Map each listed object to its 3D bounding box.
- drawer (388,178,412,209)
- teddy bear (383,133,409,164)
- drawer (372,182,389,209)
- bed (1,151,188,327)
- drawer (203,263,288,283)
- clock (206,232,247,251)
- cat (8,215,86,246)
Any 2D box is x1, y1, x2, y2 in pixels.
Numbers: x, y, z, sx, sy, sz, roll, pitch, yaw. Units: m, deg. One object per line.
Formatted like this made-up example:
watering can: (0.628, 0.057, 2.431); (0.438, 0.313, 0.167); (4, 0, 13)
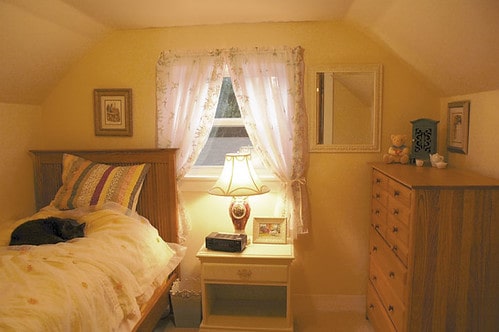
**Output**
drawer: (1.139, 0.208, 2.848); (0.136, 0.077, 0.176); (15, 11, -6)
teddy bear: (1.368, -0.156, 3.540); (0.212, 0.265, 0.173); (0, 15, 19)
drawer: (1.149, 0.260, 3.336); (0.076, 0.134, 0.175); (2, 13, -13)
bed: (-1.237, 0.536, 2.900); (1.009, 0.766, 1.315); (1, 6, 3)
drawer: (-0.024, 0.984, 3.601); (0.793, 0.181, 0.713); (0, -12, 3)
clock: (-0.203, 0.684, 3.405); (0.359, 0.133, 0.185); (2, 4, 10)
cat: (-1.577, 0.510, 2.935); (0.350, 0.115, 0.273); (-3, 7, -20)
